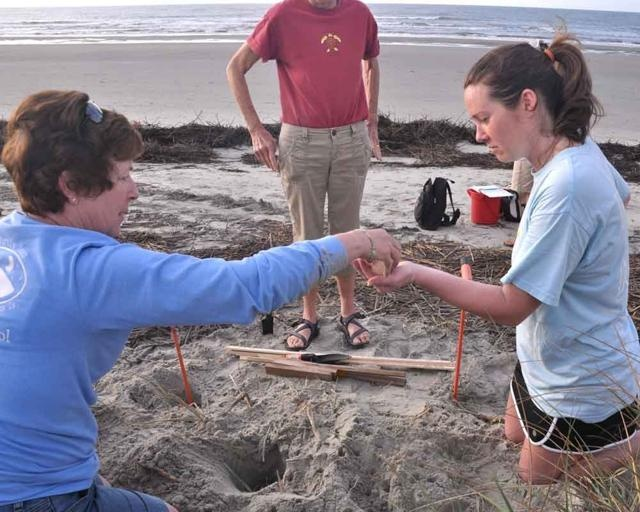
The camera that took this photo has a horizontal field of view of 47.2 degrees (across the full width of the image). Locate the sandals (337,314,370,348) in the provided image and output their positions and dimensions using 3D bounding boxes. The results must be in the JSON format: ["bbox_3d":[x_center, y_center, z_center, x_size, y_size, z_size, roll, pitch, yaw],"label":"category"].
[{"bbox_3d":[0.235,0.557,5.566,0.134,0.149,0.365,-12,22,-13],"label":"sandals"}]

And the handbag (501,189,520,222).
[{"bbox_3d":[2.092,-0.547,8.063,0.251,0.408,0.295,-3,26,10],"label":"handbag"}]

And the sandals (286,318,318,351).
[{"bbox_3d":[-0.138,0.585,5.595,0.133,0.135,0.375,5,11,25],"label":"sandals"}]

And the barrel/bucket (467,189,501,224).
[{"bbox_3d":[1.782,-0.557,8.112,0.416,0.328,0.408,0,15,0],"label":"barrel/bucket"}]

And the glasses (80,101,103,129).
[{"bbox_3d":[-1.099,-0.681,3.503,0.090,0.108,0.042,14,-41,-40],"label":"glasses"}]

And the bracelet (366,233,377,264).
[{"bbox_3d":[0.274,-0.041,3.876,0.051,0.115,0.098,-3,-19,-7],"label":"bracelet"}]
